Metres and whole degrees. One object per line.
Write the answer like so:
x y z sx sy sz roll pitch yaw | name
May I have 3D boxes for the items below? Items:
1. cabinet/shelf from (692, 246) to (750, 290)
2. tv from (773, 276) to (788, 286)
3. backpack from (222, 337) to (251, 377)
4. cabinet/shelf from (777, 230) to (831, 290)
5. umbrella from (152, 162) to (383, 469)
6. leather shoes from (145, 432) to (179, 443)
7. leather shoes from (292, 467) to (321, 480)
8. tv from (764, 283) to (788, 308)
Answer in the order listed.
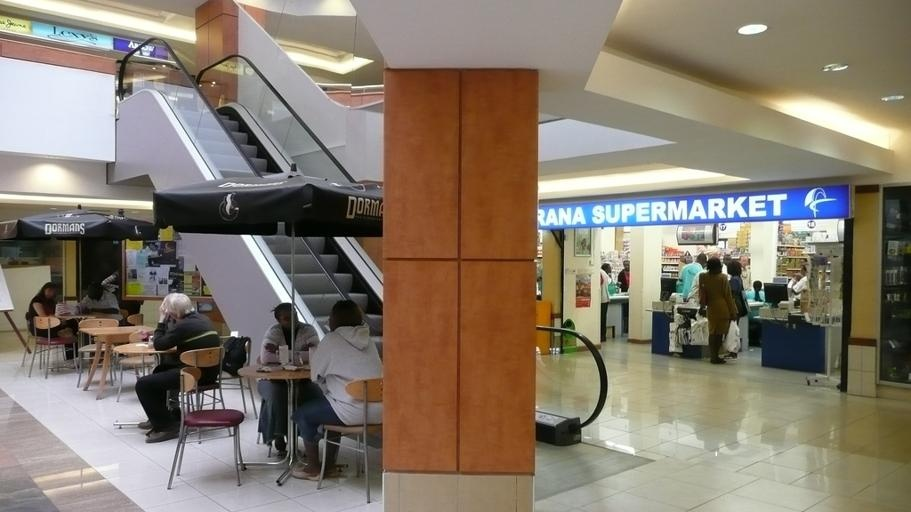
7.092 0.322 16.731 1.082 1.038 0.587 -13 18 9 | cabinet/shelf
8.756 0.641 17.000 0.422 0.241 0.427 -2 2 23 | tv
-3.806 1.676 10.881 0.387 0.652 0.528 16 -8 -36 | backpack
9.803 -0.185 17.930 1.694 1.475 0.796 -1 4 -5 | cabinet/shelf
-2.790 0.811 10.776 4.727 4.544 4.488 -4 -1 -9 | umbrella
-4.810 2.937 10.313 0.420 0.115 0.175 4 -4 -14 | leather shoes
-2.237 3.242 9.424 0.334 0.099 0.180 10 -3 10 | leather shoes
7.671 0.933 15.109 0.570 0.530 0.204 4 16 37 | tv
